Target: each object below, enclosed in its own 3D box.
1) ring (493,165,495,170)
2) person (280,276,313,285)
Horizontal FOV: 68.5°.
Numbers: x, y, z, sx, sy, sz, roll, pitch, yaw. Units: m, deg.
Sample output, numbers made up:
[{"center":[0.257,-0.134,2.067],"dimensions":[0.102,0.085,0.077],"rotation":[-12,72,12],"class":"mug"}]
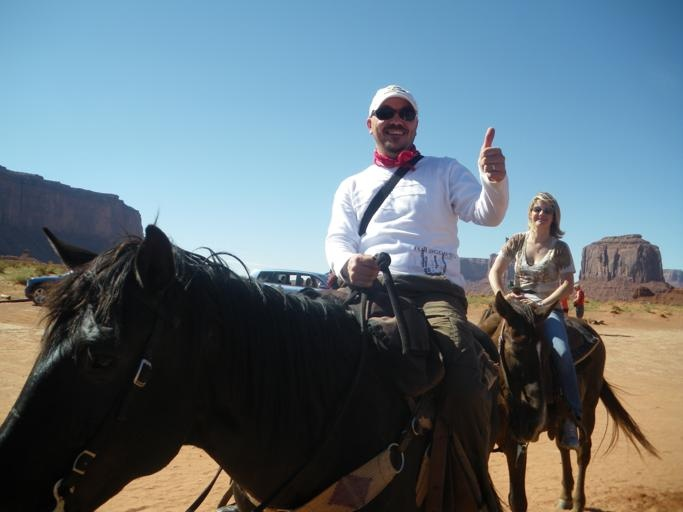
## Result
[{"center":[0.793,-0.461,2.617],"dimensions":[0.016,0.018,0.004],"rotation":[-13,-13,42],"class":"ring"},{"center":[-1.630,0.971,18.986],"dimensions":[0.767,0.228,0.533],"rotation":[-1,-5,20],"class":"person"}]
